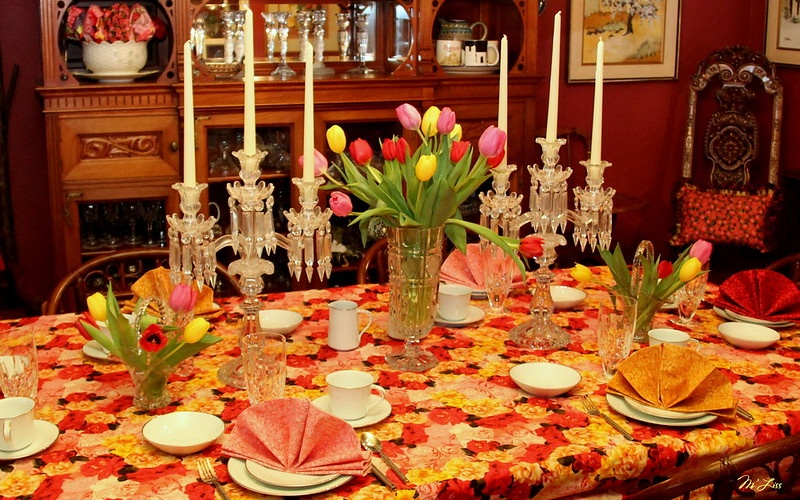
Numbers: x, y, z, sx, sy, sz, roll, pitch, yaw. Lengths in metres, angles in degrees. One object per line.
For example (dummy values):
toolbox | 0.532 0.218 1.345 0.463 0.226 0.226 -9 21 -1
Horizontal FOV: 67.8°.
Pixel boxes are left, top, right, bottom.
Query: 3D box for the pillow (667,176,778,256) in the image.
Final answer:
pillow | 2.030 -0.218 3.704 0.482 0.351 0.135 5 -5 20

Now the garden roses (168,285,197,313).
garden roses | -0.540 0.122 1.481 0.054 0.086 0.069 -5 13 -9

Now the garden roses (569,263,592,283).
garden roses | 0.611 0.078 2.018 0.064 0.030 0.048 21 -30 -6

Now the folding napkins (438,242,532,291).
folding napkins | 0.251 0.055 2.137 0.199 0.077 0.210 0 21 -15

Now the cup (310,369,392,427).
cup | -0.107 0.362 1.440 0.143 0.067 0.146 3 12 -1

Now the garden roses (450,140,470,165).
garden roses | 0.167 -0.280 1.742 0.058 0.082 0.056 10 -4 17

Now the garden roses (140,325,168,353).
garden roses | -0.588 0.208 1.411 0.058 0.063 0.024 1 -7 -20

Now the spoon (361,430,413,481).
spoon | -0.036 0.454 1.343 0.042 0.030 0.213 -18 38 -17

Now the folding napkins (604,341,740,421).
folding napkins | 0.712 0.385 1.570 0.235 0.061 0.185 4 38 27

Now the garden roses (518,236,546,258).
garden roses | 0.354 -0.016 1.598 0.065 0.039 0.047 17 23 8

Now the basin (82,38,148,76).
basin | -1.446 -0.929 2.980 0.209 0.112 0.223 0 6 0

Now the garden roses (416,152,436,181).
garden roses | 0.074 -0.214 1.591 0.052 0.073 0.125 0 14 15

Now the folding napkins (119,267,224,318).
folding napkins | -0.733 0.141 1.887 0.213 0.100 0.215 13 9 -14
